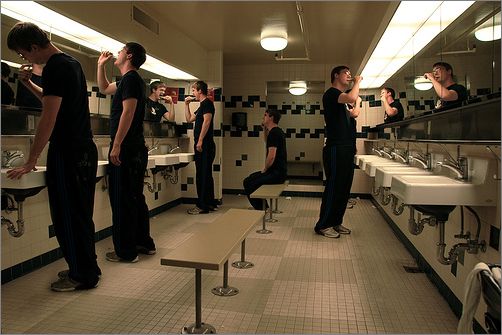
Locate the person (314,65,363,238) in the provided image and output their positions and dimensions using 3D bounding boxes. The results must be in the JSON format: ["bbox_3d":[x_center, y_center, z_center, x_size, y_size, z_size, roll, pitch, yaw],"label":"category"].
[{"bbox_3d":[1.244,-0.205,5.236,0.567,2.430,0.423,3,9,14],"label":"person"}]

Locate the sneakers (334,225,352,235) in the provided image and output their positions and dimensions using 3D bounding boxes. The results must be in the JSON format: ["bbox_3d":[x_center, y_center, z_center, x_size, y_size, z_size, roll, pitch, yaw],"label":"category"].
[{"bbox_3d":[1.378,0.927,5.486,0.259,0.103,0.126,2,2,22],"label":"sneakers"}]

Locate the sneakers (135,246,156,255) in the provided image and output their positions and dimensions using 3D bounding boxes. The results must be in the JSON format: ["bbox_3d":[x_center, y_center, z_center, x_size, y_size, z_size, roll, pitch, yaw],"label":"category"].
[{"bbox_3d":[-1.332,1.047,4.584,0.229,0.105,0.086,7,-1,3],"label":"sneakers"}]

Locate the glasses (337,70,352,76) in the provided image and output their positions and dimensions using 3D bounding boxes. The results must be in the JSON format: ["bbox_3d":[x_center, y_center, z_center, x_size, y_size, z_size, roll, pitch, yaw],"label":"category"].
[{"bbox_3d":[1.304,-1.318,5.140,0.192,0.058,0.197,1,0,4],"label":"glasses"}]

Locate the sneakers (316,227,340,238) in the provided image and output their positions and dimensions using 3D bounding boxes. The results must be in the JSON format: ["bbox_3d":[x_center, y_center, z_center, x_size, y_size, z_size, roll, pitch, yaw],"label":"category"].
[{"bbox_3d":[1.132,0.958,5.364,0.356,0.143,0.135,0,4,31],"label":"sneakers"}]

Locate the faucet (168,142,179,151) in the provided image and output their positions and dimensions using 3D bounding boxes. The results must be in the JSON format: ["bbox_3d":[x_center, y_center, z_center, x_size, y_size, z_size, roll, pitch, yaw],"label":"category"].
[{"bbox_3d":[-1.528,-0.378,7.102,0.111,0.113,0.204,7,15,35],"label":"faucet"}]

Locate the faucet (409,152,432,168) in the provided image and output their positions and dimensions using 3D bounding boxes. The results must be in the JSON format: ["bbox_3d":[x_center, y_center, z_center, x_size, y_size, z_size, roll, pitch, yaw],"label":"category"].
[{"bbox_3d":[1.999,-0.076,4.244,0.133,0.197,0.336,-1,7,-8],"label":"faucet"}]

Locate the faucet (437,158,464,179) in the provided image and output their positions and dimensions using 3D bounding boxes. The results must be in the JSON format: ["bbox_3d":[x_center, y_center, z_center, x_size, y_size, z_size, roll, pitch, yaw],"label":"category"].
[{"bbox_3d":[1.933,0.015,3.510,0.304,0.121,0.079,24,1,-23],"label":"faucet"}]

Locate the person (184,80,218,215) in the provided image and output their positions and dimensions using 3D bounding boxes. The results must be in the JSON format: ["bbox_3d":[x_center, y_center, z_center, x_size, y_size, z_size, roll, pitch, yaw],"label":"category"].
[{"bbox_3d":[-0.885,-0.334,6.595,0.464,2.376,0.497,0,9,-1],"label":"person"}]

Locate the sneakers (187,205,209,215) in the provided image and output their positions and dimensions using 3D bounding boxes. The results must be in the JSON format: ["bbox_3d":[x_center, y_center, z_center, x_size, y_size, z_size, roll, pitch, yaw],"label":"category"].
[{"bbox_3d":[-0.979,0.781,6.690,0.386,0.165,0.152,4,-3,3],"label":"sneakers"}]

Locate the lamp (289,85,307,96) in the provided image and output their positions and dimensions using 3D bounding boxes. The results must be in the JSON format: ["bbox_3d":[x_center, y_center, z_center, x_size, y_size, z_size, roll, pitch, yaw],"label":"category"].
[{"bbox_3d":[1.208,-1.979,9.425,0.415,0.165,0.368,2,9,6],"label":"lamp"}]

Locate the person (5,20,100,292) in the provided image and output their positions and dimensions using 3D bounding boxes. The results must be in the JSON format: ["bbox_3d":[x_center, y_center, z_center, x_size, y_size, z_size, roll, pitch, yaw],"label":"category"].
[{"bbox_3d":[-1.903,-0.056,3.599,0.688,2.604,0.387,-4,10,-25],"label":"person"}]
